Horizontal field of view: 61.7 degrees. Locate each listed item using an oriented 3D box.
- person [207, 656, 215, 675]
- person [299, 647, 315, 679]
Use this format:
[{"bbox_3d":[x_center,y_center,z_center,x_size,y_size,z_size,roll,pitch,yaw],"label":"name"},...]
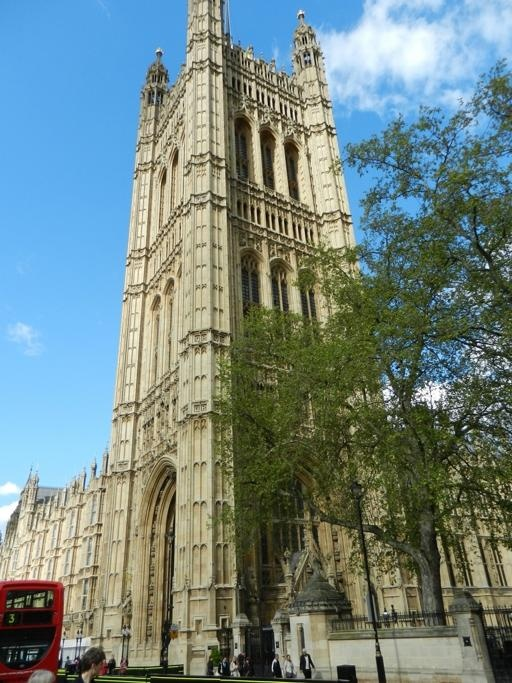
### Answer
[{"bbox_3d":[-1.821,12.931,17.260,0.245,0.555,0.999,0,-31,-7],"label":"person"},{"bbox_3d":[1.353,8.315,11.172,0.329,0.577,0.857,2,-31,-11],"label":"person"}]
